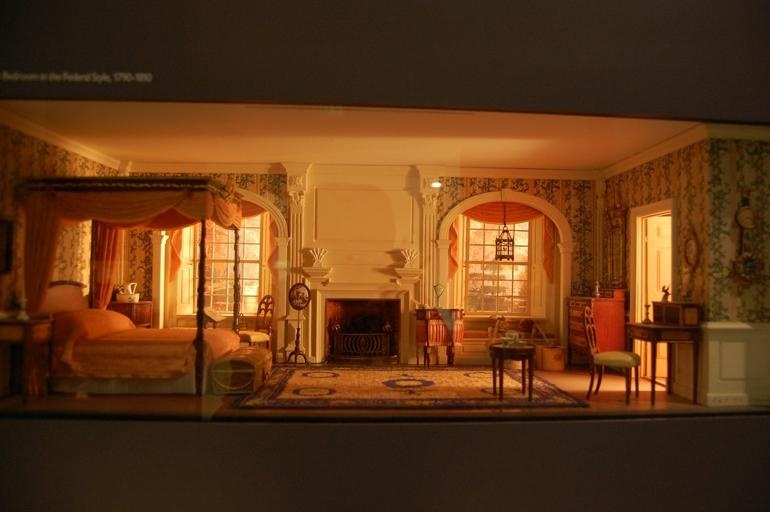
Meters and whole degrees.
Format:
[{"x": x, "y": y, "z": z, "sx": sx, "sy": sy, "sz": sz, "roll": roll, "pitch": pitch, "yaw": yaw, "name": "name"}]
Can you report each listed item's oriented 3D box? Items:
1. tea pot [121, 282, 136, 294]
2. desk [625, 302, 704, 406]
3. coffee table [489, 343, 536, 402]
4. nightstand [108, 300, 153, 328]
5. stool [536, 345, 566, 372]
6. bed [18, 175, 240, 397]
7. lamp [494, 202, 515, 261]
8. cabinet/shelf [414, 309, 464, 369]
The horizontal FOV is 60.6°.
[{"x": -3.931, "y": 0.494, "z": 10.111, "sx": 0.168, "sy": 0.160, "sz": 0.125, "roll": -14, "pitch": 10, "yaw": -4, "name": "tea pot"}, {"x": 3.565, "y": 1.259, "z": 8.344, "sx": 0.512, "sy": 1.085, "sz": 1.150, "roll": 1, "pitch": -6, "yaw": 6, "name": "desk"}, {"x": 1.708, "y": 1.445, "z": 8.334, "sx": 0.710, "sy": 0.802, "sz": 0.716, "roll": 1, "pitch": -6, "yaw": -3, "name": "coffee table"}, {"x": -3.817, "y": 0.748, "z": 9.955, "sx": 0.362, "sy": 0.413, "sz": 0.640, "roll": 0, "pitch": 0, "yaw": 0, "name": "nightstand"}, {"x": 2.571, "y": 1.597, "z": 10.183, "sx": 0.422, "sy": 0.319, "sz": 0.403, "roll": 0, "pitch": -3, "yaw": 2, "name": "stool"}, {"x": -3.094, "y": 0.423, "z": 8.934, "sx": 2.662, "sy": 2.630, "sz": 2.375, "roll": 0, "pitch": -7, "yaw": -5, "name": "bed"}, {"x": 2.049, "y": -0.410, "z": 11.190, "sx": 0.281, "sy": 0.984, "sz": 1.325, "roll": 1, "pitch": -6, "yaw": 9, "name": "lamp"}, {"x": 0.741, "y": 1.327, "z": 10.516, "sx": 0.924, "sy": 0.935, "sz": 0.809, "roll": 0, "pitch": -7, "yaw": -2, "name": "cabinet/shelf"}]
